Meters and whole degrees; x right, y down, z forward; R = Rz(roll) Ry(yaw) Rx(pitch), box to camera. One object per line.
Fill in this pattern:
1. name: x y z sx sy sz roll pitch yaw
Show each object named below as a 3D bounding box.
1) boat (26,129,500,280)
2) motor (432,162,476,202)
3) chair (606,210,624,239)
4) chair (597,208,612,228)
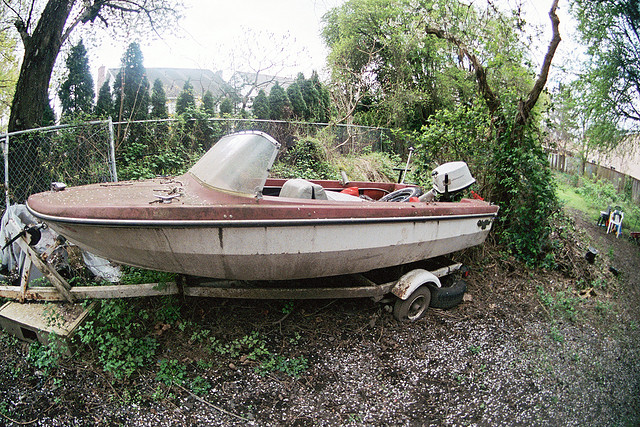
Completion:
1. boat: -0.472 0.099 5.828 5.658 1.818 2.539 3 6 -17
2. motor: 2.045 -0.434 6.368 0.633 0.667 0.582 -9 28 11
3. chair: 7.053 0.222 9.946 0.284 0.534 0.460 16 21 33
4. chair: 7.038 0.098 10.281 0.175 0.164 0.481 21 68 46
